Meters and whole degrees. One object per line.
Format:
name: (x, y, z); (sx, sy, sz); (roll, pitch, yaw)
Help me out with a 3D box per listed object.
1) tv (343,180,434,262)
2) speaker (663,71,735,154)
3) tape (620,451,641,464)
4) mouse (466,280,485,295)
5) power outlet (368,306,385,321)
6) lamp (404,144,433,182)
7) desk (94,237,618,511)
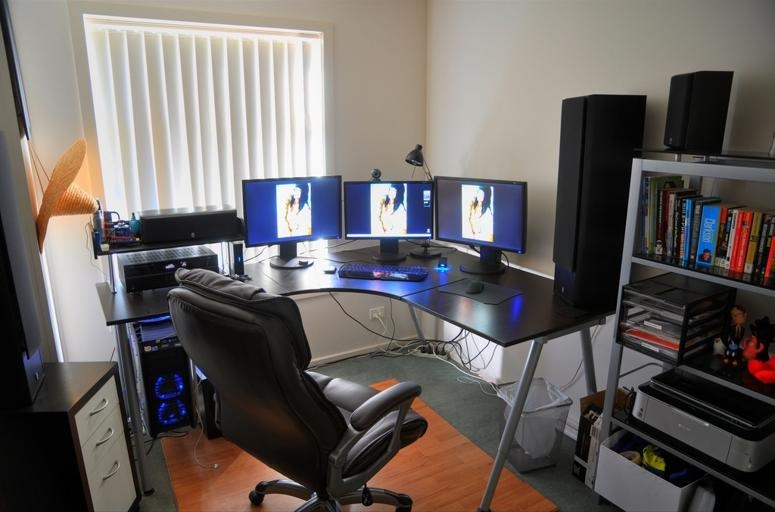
tv: (0.014, -0.264, 3.956); (0.581, 0.522, 0.242); (0, 10, 2)
speaker: (1.550, -0.720, 2.754); (0.286, 0.390, 0.119); (2, 16, 29)
tape: (1.351, 1.115, 3.049); (0.055, 0.062, 0.068); (0, 21, -27)
mouse: (0.548, 0.186, 3.418); (0.065, 0.036, 0.112); (5, 27, 17)
power outlet: (-0.092, 0.472, 4.605); (0.168, 0.113, 0.095); (-8, 17, -35)
lamp: (0.257, -0.717, 4.251); (0.178, 0.300, 0.638); (-5, 14, 5)
desk: (0.059, 0.471, 3.093); (2.009, 0.810, 2.064); (15, 25, 36)
